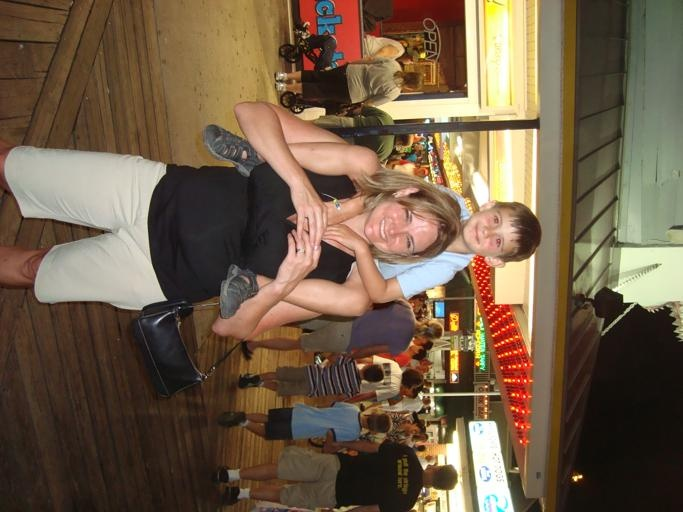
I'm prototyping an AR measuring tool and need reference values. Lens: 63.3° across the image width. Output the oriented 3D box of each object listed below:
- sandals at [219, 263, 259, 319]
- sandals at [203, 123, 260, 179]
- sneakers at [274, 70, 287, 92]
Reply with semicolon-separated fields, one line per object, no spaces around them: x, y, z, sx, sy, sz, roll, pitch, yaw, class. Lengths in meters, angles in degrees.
-0.684;0.241;3.510;0.132;0.299;0.274;33;19;-51;sandals
-0.737;-0.721;3.727;0.514;0.208;0.230;25;-13;-37;sandals
-0.845;-2.423;7.714;0.185;0.249;0.098;-5;16;-14;sneakers
